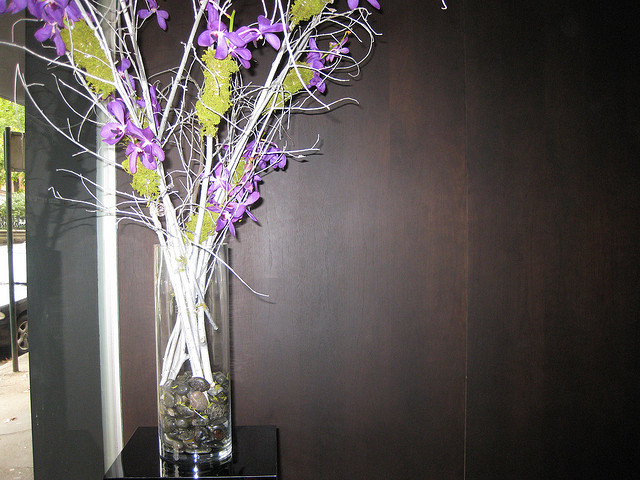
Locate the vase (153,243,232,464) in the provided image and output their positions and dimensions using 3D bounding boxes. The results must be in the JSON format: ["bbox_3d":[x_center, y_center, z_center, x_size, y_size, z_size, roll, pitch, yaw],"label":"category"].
[{"bbox_3d":[-0.372,0.332,1.673,0.208,0.629,0.144,-1,-5,-9],"label":"vase"}]
